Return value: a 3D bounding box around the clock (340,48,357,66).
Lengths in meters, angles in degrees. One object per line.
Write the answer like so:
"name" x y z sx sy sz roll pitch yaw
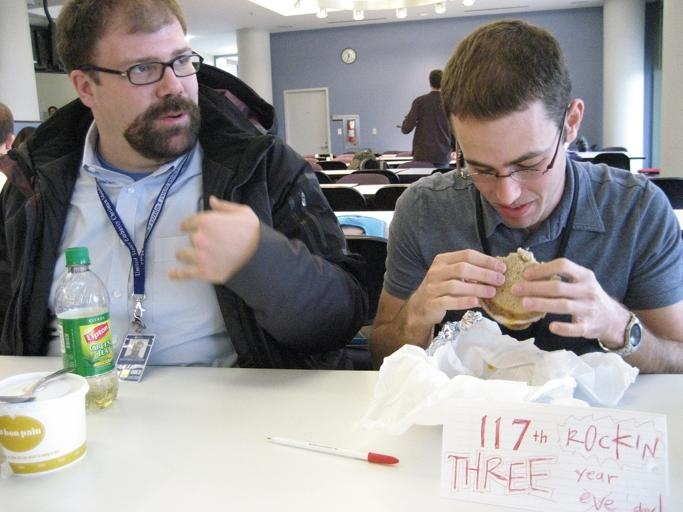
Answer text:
"clock" 0.158 -4.263 12.279 0.335 0.341 0.077 1 9 15

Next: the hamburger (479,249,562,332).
"hamburger" 0.423 0.087 1.335 0.182 0.168 0.068 12 27 21

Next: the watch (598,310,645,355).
"watch" 0.680 0.181 1.336 0.042 0.108 0.101 25 -30 -16

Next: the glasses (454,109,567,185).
"glasses" 0.445 -0.274 1.426 0.247 0.182 0.103 1 9 13
